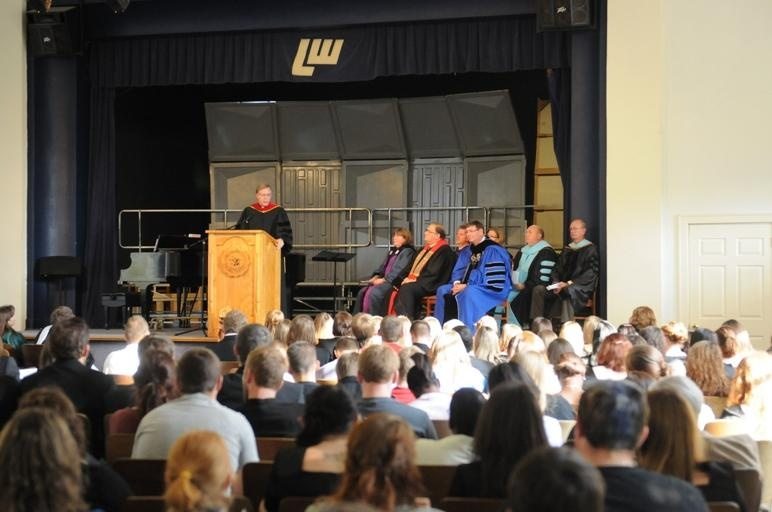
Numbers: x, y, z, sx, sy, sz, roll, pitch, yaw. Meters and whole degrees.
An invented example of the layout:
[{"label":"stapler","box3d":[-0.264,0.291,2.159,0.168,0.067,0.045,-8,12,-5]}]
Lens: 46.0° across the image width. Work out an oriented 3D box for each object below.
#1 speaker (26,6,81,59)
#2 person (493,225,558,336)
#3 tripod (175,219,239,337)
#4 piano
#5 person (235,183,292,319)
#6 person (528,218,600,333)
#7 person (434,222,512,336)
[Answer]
[{"label":"speaker","box3d":[-4.656,-3.211,13.002,0.654,0.685,0.432,4,11,21]},{"label":"person","box3d":[1.939,0.269,12.759,0.759,1.342,0.647,2,8,-42]},{"label":"tripod","box3d":[-2.628,0.345,12.690,0.937,1.352,0.937,-7,-2,-2]},{"label":"piano","box3d":[-3.060,0.380,12.501,1.300,1.517,1.152,1,-2,-5]},{"label":"person","box3d":[-1.486,-0.082,11.714,0.595,1.858,0.541,0,9,-12]},{"label":"person","box3d":[2.331,0.327,12.134,0.799,1.777,0.690,0,0,-41]},{"label":"person","box3d":[1.208,0.337,12.374,0.732,1.737,0.755,0,0,-3]}]
